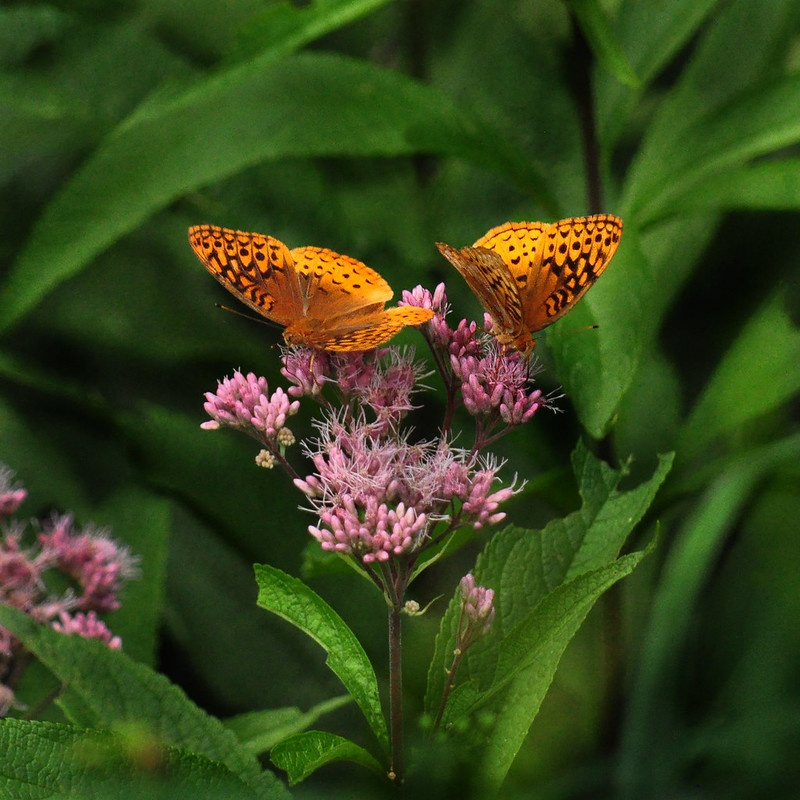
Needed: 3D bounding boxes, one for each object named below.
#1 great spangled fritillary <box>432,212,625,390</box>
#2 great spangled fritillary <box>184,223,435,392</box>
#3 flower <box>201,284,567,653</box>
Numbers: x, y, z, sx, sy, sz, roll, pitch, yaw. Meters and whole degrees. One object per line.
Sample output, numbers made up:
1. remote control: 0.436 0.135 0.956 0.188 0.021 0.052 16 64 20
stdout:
1. great spangled fritillary: 0.154 -0.144 1.313 0.137 0.150 0.213 38 3 5
2. great spangled fritillary: -0.123 -0.083 1.313 0.351 0.153 0.094 25 -3 13
3. flower: -0.031 0.104 1.377 0.397 0.393 0.354 -3 -8 -1
